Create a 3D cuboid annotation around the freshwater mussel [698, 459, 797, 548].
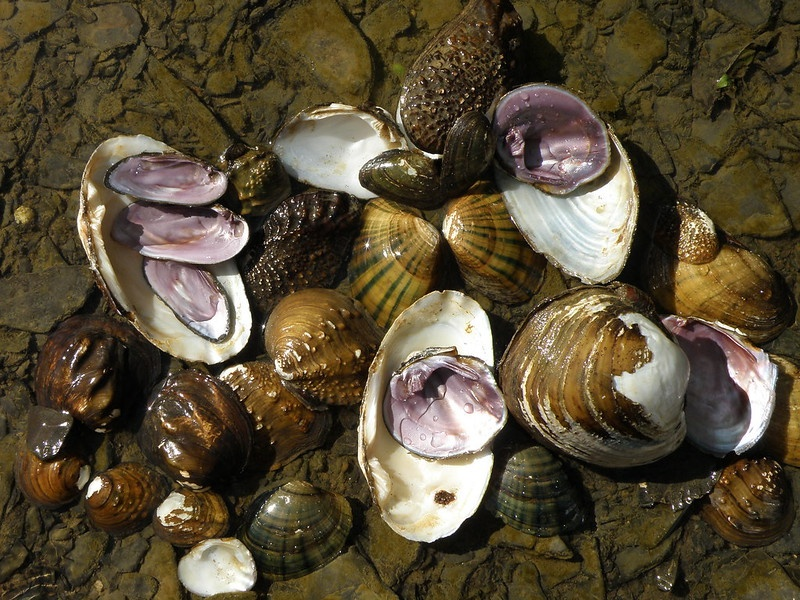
[{"bbox_3d":[2.371,1.350,6.063,0.594,0.293,0.584,30,78,8],"label":"freshwater mussel"}]
